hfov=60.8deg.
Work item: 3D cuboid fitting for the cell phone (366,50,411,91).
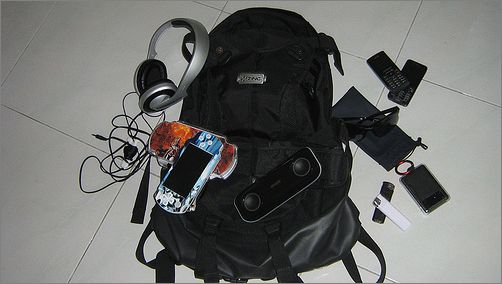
[{"bbox_3d":[0.744,-0.392,2.347,0.140,0.261,0.041,-35,-13,5],"label":"cell phone"}]

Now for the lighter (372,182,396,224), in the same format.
[{"bbox_3d":[0.705,0.315,2.294,0.121,0.218,0.113,0,-1,-1],"label":"lighter"}]

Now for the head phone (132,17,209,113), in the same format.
[{"bbox_3d":[-0.415,-0.389,2.259,0.392,0.502,0.197,20,-7,33],"label":"head phone"}]

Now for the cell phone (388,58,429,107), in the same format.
[{"bbox_3d":[0.874,-0.330,2.360,0.150,0.290,0.030,28,-9,5],"label":"cell phone"}]

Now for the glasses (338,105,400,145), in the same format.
[{"bbox_3d":[0.643,-0.094,2.330,0.219,0.083,0.223,-16,5,2],"label":"glasses"}]
